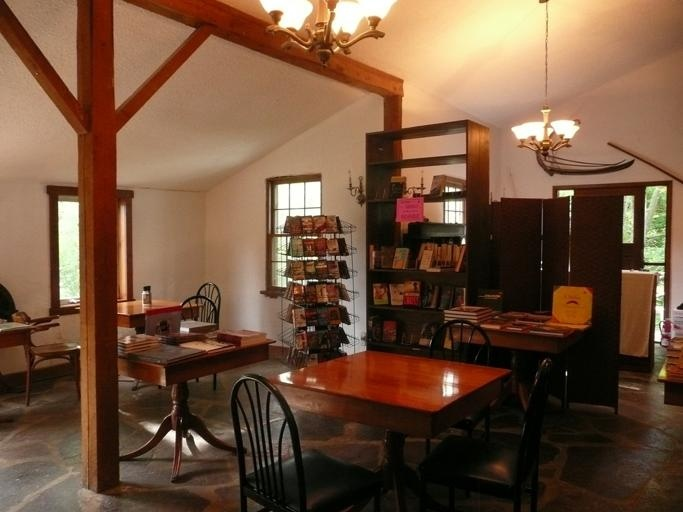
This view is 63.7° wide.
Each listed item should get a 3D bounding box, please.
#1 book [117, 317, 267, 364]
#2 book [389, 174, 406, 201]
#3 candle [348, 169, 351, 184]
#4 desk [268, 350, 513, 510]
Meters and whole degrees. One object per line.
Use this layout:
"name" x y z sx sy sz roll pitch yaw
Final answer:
"book" -1.187 0.718 4.315 1.038 0.242 0.629 -3 2 -40
"book" 0.597 -0.736 5.850 0.170 0.274 0.350 -2 2 0
"candle" 0.096 -1.005 6.953 0.032 0.193 0.066 -3 2 -17
"desk" 0.355 0.774 3.494 1.263 0.897 1.090 4 9 39
